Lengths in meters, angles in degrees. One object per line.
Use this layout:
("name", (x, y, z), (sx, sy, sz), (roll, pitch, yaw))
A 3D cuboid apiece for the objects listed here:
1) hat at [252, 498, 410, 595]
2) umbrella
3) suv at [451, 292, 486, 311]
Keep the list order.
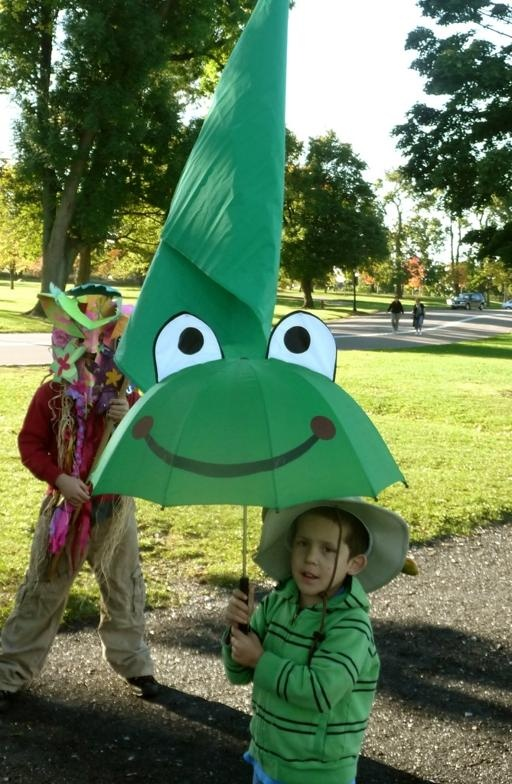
("hat", (0.232, 0.449, 2.190), (0.360, 0.143, 0.384), (30, -47, -29))
("umbrella", (-0.028, 0.099, 1.890), (0.812, 0.466, 0.749), (-2, 6, -15))
("suv", (18.929, -8.030, 66.216), (3.498, 1.352, 1.895), (0, 1, -42))
